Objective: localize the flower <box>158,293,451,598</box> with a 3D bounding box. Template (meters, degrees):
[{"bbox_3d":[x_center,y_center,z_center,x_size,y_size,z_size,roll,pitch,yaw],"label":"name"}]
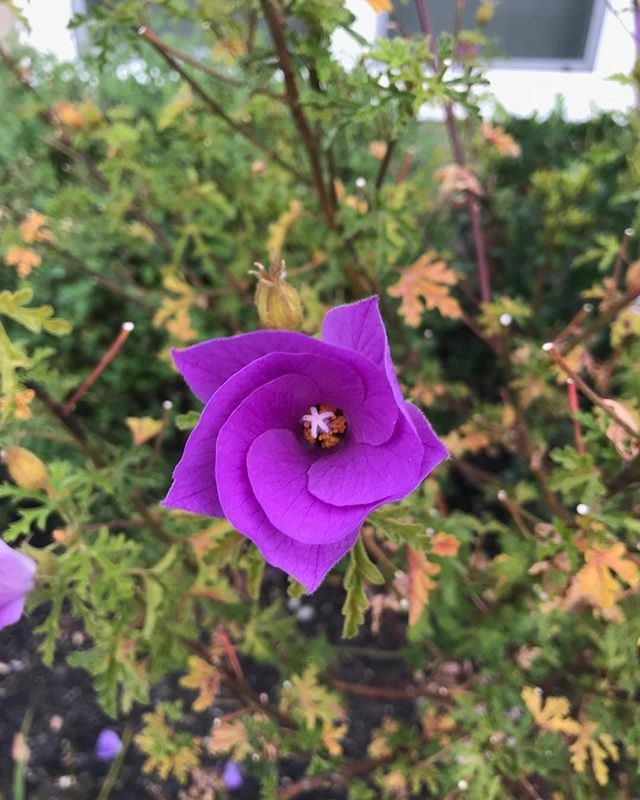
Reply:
[{"bbox_3d":[-0.015,0.049,0.813,0.304,0.321,0.169,2,5,4],"label":"flower"}]
